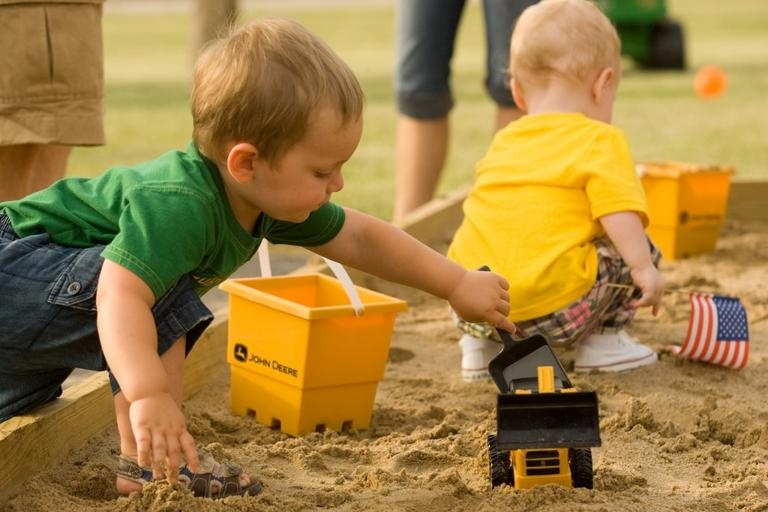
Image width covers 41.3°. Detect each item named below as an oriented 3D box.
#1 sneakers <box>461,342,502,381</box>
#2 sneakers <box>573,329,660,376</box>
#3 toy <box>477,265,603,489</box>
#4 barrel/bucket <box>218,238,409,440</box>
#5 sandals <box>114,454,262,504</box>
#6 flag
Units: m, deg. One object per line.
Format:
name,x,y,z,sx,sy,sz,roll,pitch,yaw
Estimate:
sneakers,0.352,0.391,3.711,0.149,0.123,0.123,-2,-2,14
sneakers,0.834,0.354,3.753,0.317,0.162,0.133,-5,2,-2
toy,0.464,0.469,3.002,0.316,0.442,0.337,2,8,6
barrel/bucket,-0.280,0.247,3.611,0.679,0.634,0.661,3,3,0
sandals,-0.570,0.646,2.972,0.425,0.119,0.094,0,8,-6
flag,1.189,0.272,3.637,0.215,0.260,0.084,3,9,15
